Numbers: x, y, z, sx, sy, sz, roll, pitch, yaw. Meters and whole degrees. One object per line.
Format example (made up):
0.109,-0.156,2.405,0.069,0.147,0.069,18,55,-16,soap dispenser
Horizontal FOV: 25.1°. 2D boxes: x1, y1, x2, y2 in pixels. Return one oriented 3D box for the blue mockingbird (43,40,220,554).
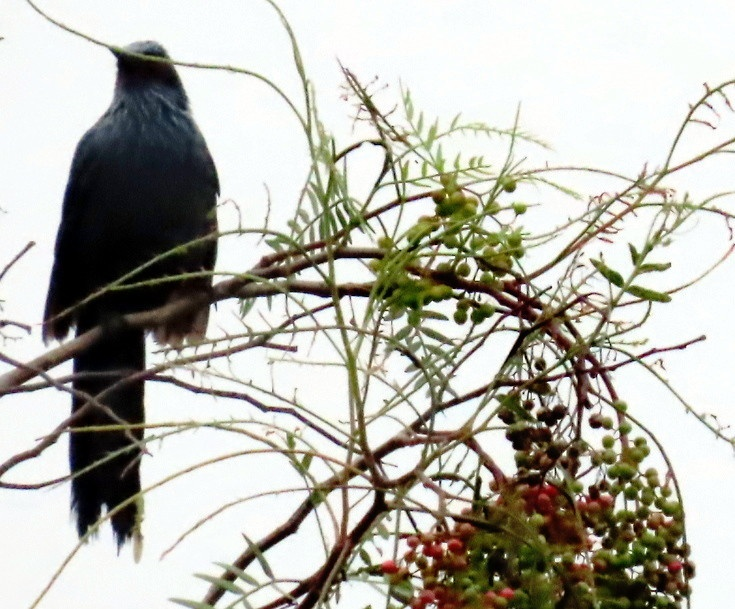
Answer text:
-0.494,-0.037,3.426,0.252,0.391,1.086,4,-92,-14,blue mockingbird
